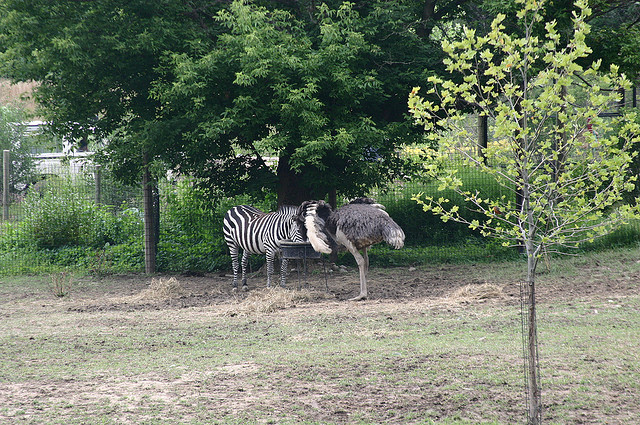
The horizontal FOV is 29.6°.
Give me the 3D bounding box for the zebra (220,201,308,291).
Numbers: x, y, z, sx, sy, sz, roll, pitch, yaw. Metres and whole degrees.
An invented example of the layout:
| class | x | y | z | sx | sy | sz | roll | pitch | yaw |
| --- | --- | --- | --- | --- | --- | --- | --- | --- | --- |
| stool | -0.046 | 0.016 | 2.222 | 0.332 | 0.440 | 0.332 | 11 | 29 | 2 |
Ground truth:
| class | x | y | z | sx | sy | sz | roll | pitch | yaw |
| --- | --- | --- | --- | --- | --- | --- | --- | --- | --- |
| zebra | -1.538 | 0.595 | 30.354 | 3.604 | 2.448 | 1.133 | 0 | 2 | 42 |
